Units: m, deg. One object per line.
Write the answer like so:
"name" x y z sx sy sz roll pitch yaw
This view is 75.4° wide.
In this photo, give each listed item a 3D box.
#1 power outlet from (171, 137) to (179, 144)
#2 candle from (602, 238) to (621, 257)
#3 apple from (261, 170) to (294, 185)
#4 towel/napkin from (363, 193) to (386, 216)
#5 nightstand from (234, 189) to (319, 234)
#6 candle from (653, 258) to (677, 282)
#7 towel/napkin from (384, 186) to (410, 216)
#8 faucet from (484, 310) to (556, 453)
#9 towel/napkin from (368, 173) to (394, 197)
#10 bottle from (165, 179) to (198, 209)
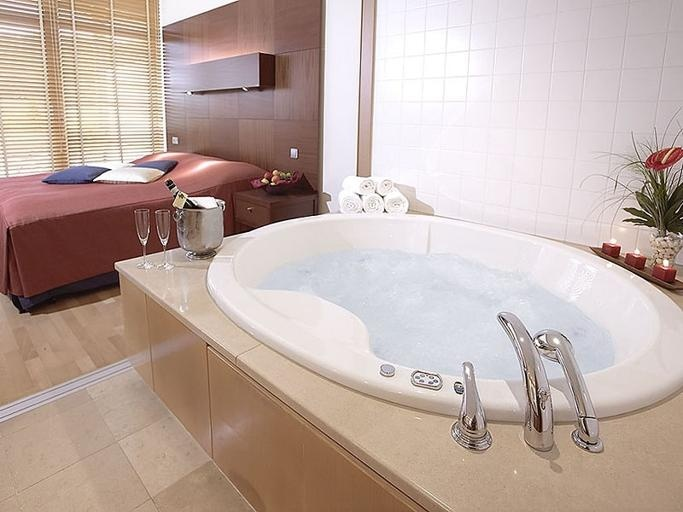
"power outlet" -1.849 -1.292 4.918 0.098 0.070 0.014 16 22 41
"candle" 1.312 -0.039 2.142 0.067 0.093 0.065 -18 24 -27
"apple" -0.492 -0.585 3.387 0.182 0.065 0.186 3 19 4
"towel/napkin" 0.198 -0.330 2.789 0.122 0.143 0.055 1 11 1
"nightstand" -0.547 -0.481 3.387 0.512 0.488 0.359 17 26 39
"candle" 1.380 0.061 1.888 0.064 0.119 0.067 -12 19 -25
"towel/napkin" 0.329 -0.341 2.764 0.165 0.141 0.065 34 4 -4
"faucet" 0.449 0.296 1.069 0.159 0.301 0.134 7 20 19
"towel/napkin" 0.250 -0.457 2.832 0.150 0.060 0.114 38 51 25
"bottle" -0.700 -0.277 1.919 0.103 0.118 0.217 -13 22 -34
